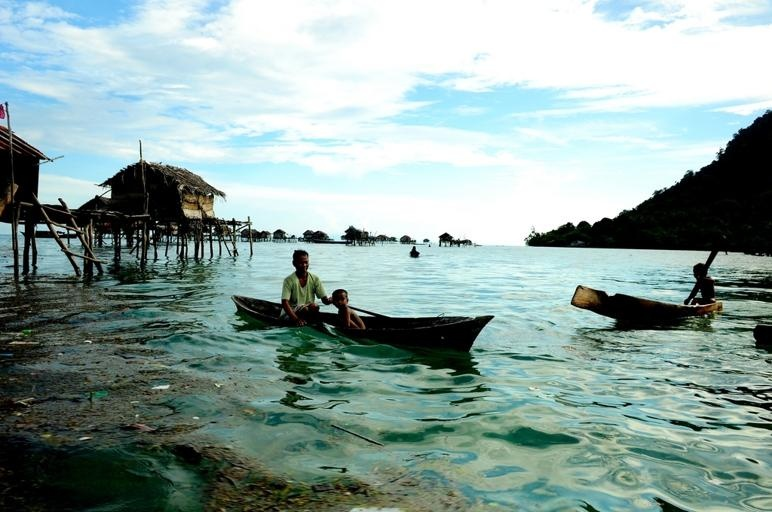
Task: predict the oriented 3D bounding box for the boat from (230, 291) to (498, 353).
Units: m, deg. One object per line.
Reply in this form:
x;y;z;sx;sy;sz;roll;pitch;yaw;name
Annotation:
-2.289;1.225;11.922;9.517;0.785;1.721;0;-7;27;boat
